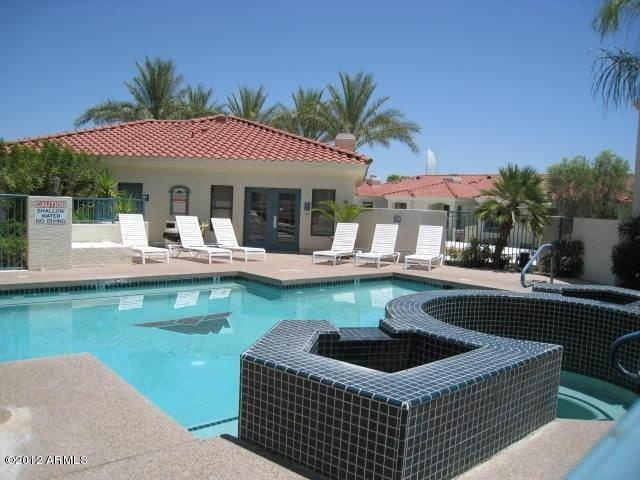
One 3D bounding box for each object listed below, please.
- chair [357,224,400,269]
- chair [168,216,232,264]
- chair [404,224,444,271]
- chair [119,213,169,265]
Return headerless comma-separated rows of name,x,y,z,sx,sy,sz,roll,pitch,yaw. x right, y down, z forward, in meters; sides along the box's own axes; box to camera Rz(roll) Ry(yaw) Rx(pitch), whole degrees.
chair,2.081,0.144,14.300,1.137,1.363,2.749,2,2,24
chair,-3.828,-0.067,13.353,0.867,1.368,2.575,1,1,-41
chair,3.503,0.070,13.621,0.802,1.364,2.347,6,1,18
chair,-5.513,-0.057,12.826,1.223,1.476,1.918,0,2,-27
